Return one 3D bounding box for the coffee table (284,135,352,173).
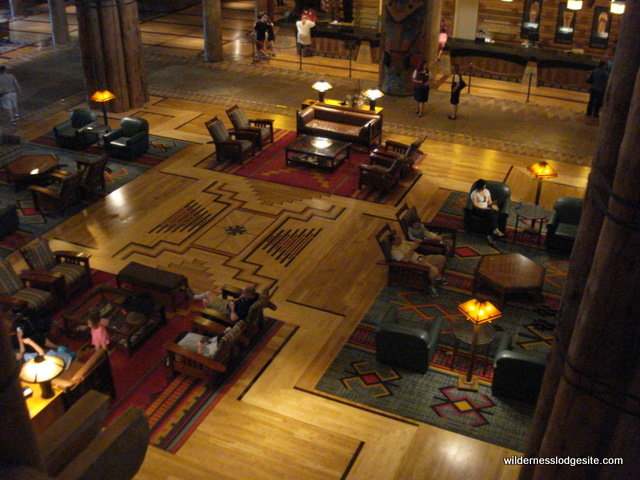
[{"bbox_3d":[-0.113,-2.547,14.014,1.805,0.597,1.183,17,45,21],"label":"coffee table"}]

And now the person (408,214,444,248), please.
[{"bbox_3d":[2.293,-0.145,10.839,0.833,0.684,0.518,16,56,16],"label":"person"}]

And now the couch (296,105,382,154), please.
[{"bbox_3d":[0.467,-3.699,15.515,2.922,0.917,0.978,19,48,25],"label":"couch"}]

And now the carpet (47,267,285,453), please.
[{"bbox_3d":[-3.154,1.589,8.934,3.969,0.808,3.859,12,18,4],"label":"carpet"}]

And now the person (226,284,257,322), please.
[{"bbox_3d":[-1.420,1.188,8.869,0.726,0.292,0.515,-39,32,20],"label":"person"}]

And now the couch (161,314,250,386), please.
[{"bbox_3d":[-1.948,1.956,8.280,1.340,0.989,0.872,17,46,10],"label":"couch"}]

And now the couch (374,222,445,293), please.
[{"bbox_3d":[1.920,0.500,10.300,1.837,1.295,1.180,13,48,18],"label":"couch"}]

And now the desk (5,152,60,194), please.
[{"bbox_3d":[-7.830,-1.753,13.225,1.255,0.459,1.215,11,43,11],"label":"desk"}]

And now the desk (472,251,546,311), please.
[{"bbox_3d":[3.903,0.756,9.989,1.332,0.462,1.250,13,42,23],"label":"desk"}]

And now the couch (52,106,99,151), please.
[{"bbox_3d":[-7.515,-3.405,14.958,1.171,0.862,1.176,24,38,32],"label":"couch"}]

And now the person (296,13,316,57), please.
[{"bbox_3d":[-0.699,-9.374,22.115,0.753,1.869,1.313,7,28,15],"label":"person"}]

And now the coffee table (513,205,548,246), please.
[{"bbox_3d":[5.017,-0.327,11.475,0.834,0.735,0.721,-1,47,11],"label":"coffee table"}]

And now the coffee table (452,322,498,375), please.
[{"bbox_3d":[2.748,1.858,8.708,0.989,0.959,0.910,7,51,10],"label":"coffee table"}]

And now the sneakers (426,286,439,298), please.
[{"bbox_3d":[2.352,1.056,9.997,0.128,0.124,0.310,-16,33,-6],"label":"sneakers"}]

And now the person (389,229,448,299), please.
[{"bbox_3d":[2.066,0.490,10.218,1.175,0.900,1.030,-16,32,-18],"label":"person"}]

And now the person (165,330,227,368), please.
[{"bbox_3d":[-2.048,1.858,8.195,0.858,0.307,0.629,13,37,12],"label":"person"}]

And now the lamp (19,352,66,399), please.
[{"bbox_3d":[-3.599,1.832,6.370,0.502,0.729,0.462,-14,29,-23],"label":"lamp"}]

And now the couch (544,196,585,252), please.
[{"bbox_3d":[5.744,-0.330,11.055,0.926,1.010,1.007,15,38,20],"label":"couch"}]

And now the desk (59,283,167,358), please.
[{"bbox_3d":[-3.959,1.556,9.305,1.396,0.533,1.663,13,16,0],"label":"desk"}]
